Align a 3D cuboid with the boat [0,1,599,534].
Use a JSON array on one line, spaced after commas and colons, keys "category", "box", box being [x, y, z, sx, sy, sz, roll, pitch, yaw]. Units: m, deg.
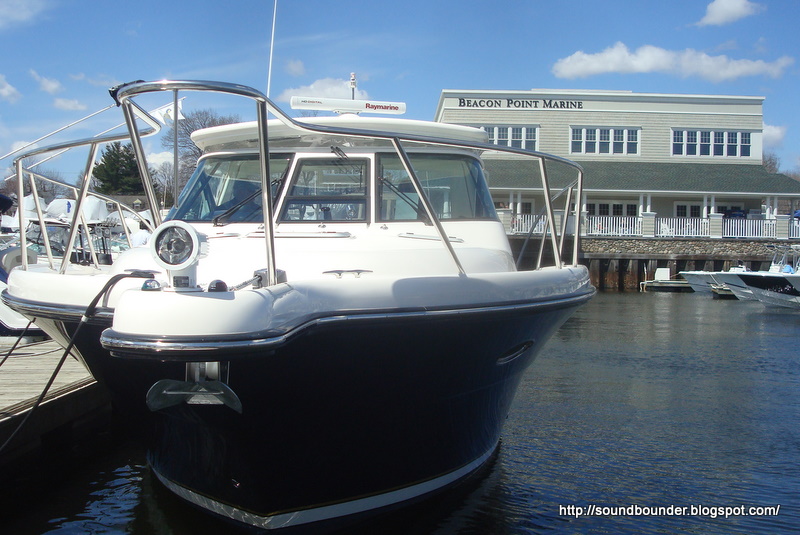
[{"category": "boat", "box": [-0.418, 0.265, 6.383, 4.209, 2.142, 4.886, 0, -4, 17]}]
